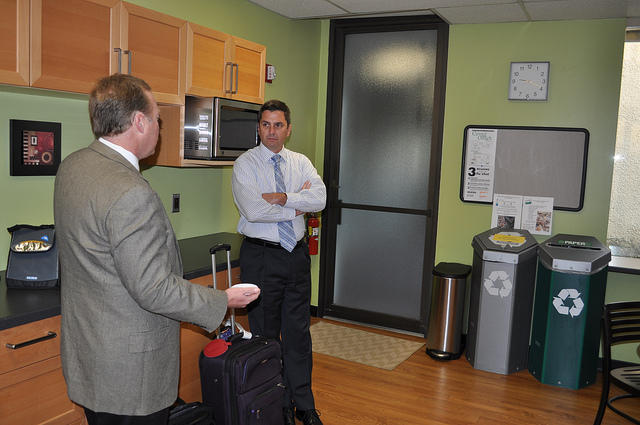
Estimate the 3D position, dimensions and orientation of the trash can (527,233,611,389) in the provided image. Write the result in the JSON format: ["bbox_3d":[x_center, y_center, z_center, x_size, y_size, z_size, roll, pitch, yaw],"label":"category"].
[{"bbox_3d":[2.139,0.912,3.973,0.562,1.210,0.292,7,13,25],"label":"trash can"}]

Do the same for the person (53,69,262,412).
[{"bbox_3d":[-0.830,0.161,2.115,0.802,1.556,0.405,-2,12,-15],"label":"person"}]

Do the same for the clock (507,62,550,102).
[{"bbox_3d":[2.017,-1.255,4.393,0.401,0.382,0.041,5,5,29],"label":"clock"}]

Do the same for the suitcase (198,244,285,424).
[{"bbox_3d":[-0.475,0.992,2.879,0.467,0.792,0.310,-9,15,-40],"label":"suitcase"}]

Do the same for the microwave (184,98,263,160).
[{"bbox_3d":[-0.779,-0.650,3.674,0.395,0.421,0.685,6,10,23],"label":"microwave"}]

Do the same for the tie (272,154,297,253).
[{"bbox_3d":[-0.255,-0.024,3.314,0.131,0.791,0.087,-10,-1,10],"label":"tie"}]

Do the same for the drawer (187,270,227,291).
[{"bbox_3d":[-0.811,0.490,3.306,0.154,0.190,0.283,4,5,34],"label":"drawer"}]
